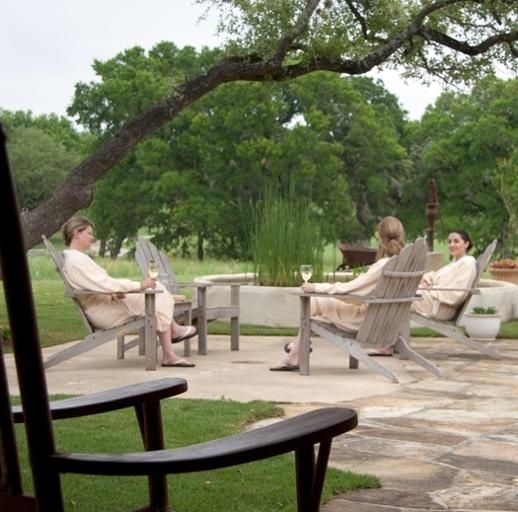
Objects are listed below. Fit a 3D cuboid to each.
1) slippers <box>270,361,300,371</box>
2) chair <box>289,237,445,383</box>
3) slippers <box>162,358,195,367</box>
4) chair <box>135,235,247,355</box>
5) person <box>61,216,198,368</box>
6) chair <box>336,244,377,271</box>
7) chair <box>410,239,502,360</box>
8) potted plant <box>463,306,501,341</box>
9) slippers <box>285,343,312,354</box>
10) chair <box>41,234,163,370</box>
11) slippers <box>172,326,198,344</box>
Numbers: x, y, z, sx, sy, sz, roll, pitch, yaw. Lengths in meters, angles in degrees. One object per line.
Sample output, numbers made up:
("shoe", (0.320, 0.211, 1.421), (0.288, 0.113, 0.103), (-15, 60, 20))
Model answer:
("slippers", (0.221, 0.968, 9.306), (0.259, 0.116, 0.090), (3, -7, -1))
("chair", (1.141, 0.402, 9.404), (1.286, 1.459, 0.995), (0, -2, 36))
("slippers", (-0.743, 0.973, 9.554), (0.265, 0.066, 0.110), (-3, -4, 13))
("chair", (-0.701, 0.392, 11.268), (1.316, 1.400, 0.954), (1, 2, 34))
("person", (-1.168, 0.327, 9.706), (1.125, 1.459, 0.832), (-5, 5, -11))
("chair", (1.989, -0.002, 21.455), (0.894, 0.524, 0.760), (-2, 3, 4))
("chair", (2.024, 0.415, 10.636), (1.093, 1.412, 0.887), (3, 0, 10))
("potted plant", (2.447, 0.729, 11.543), (0.355, 0.281, 0.369), (-1, 2, -11))
("slippers", (0.342, 0.860, 9.615), (0.211, 0.082, 0.159), (1, 23, -11))
("chair", (-1.437, 0.443, 9.941), (1.264, 1.500, 1.018), (-1, -1, -6))
("slippers", (-0.711, 0.741, 10.033), (0.219, 0.076, 0.122), (-21, 19, -31))
